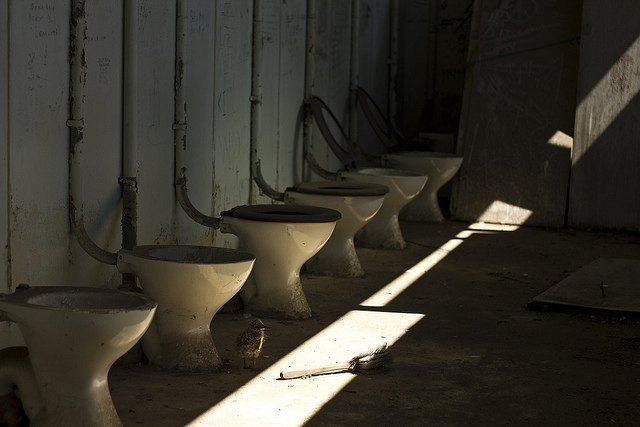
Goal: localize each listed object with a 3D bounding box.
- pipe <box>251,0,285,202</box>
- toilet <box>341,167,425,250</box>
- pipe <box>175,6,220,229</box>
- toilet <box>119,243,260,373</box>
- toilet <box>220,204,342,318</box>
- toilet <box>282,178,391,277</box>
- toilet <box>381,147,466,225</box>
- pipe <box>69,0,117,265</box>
[{"bbox_3d":[-0.377,-0.784,4.242,0.194,1.315,0.568,-1,13,-9],"label":"pipe"},{"bbox_3d":[0.581,-0.037,5.143,0.710,0.655,0.543,1,4,18],"label":"toilet"},{"bbox_3d":[-0.728,-0.554,3.521,0.195,1.213,0.439,-4,14,-22],"label":"pipe"},{"bbox_3d":[-0.626,0.463,3.006,0.610,0.545,0.556,3,4,1],"label":"toilet"},{"bbox_3d":[-0.244,0.278,3.693,0.695,0.629,0.620,4,7,7],"label":"toilet"},{"bbox_3d":[0.147,0.089,4.393,0.711,0.637,0.605,2,6,11],"label":"toilet"},{"bbox_3d":[1.029,-0.267,6.007,0.781,0.713,0.674,4,10,18],"label":"toilet"},{"bbox_3d":[-1.097,-0.380,2.886,0.177,1.195,0.337,-4,14,-22],"label":"pipe"}]
